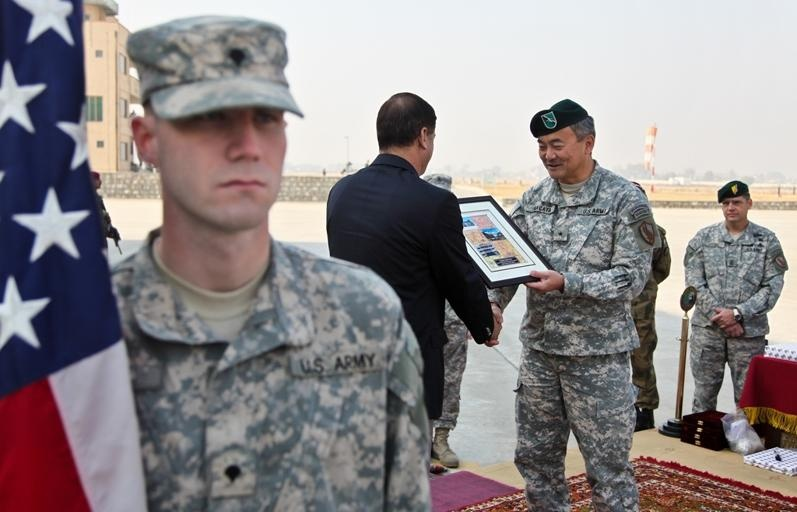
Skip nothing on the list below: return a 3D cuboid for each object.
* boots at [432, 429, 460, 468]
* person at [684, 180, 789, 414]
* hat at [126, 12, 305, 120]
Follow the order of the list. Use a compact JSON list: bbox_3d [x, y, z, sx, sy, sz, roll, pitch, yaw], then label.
[{"bbox_3d":[0.344,1.340,5.222,0.128,0.223,0.335,4,-3,-18],"label":"boots"},{"bbox_3d":[2.803,0.369,6.208,0.780,2.018,0.811,5,8,31],"label":"person"},{"bbox_3d":[-0.381,-0.418,1.607,0.411,0.198,0.361,16,19,42],"label":"hat"}]
